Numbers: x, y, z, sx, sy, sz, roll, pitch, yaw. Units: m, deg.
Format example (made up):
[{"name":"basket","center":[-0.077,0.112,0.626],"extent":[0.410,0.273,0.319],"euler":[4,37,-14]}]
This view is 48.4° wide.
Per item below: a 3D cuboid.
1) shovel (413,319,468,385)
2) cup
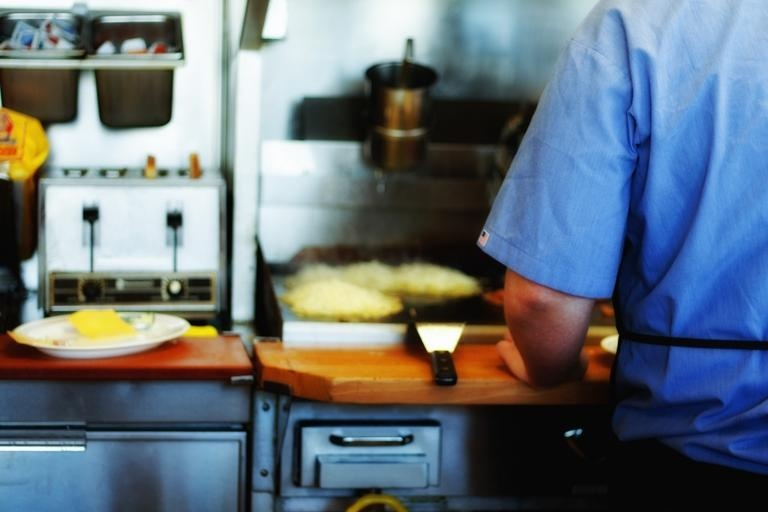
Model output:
[{"name":"shovel","center":[0.142,0.244,2.113],"extent":[0.133,0.041,0.257],"euler":[1,21,-1]},{"name":"cup","center":[0.014,-0.381,2.452],"extent":[0.255,0.301,0.253],"euler":[3,18,-1]}]
